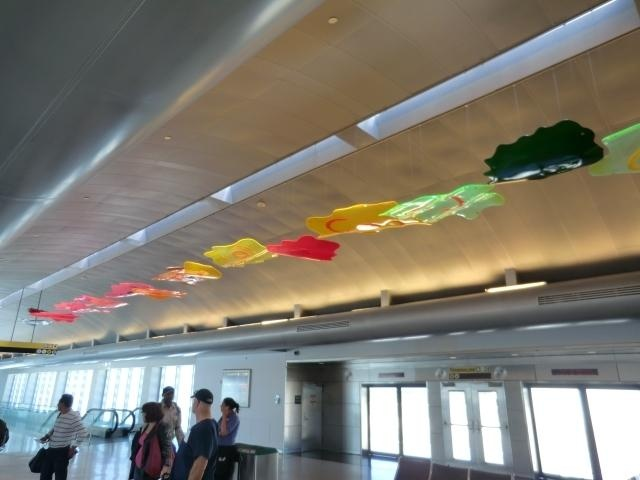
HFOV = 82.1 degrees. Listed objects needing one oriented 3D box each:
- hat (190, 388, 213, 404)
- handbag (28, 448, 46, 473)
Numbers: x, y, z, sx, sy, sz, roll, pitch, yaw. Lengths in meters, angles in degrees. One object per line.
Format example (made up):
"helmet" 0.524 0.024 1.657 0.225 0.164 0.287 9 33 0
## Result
"hat" -1.460 1.912 4.515 0.219 0.131 0.284 13 -4 -36
"handbag" -5.141 4.052 6.697 0.195 0.426 0.509 16 -26 -32
